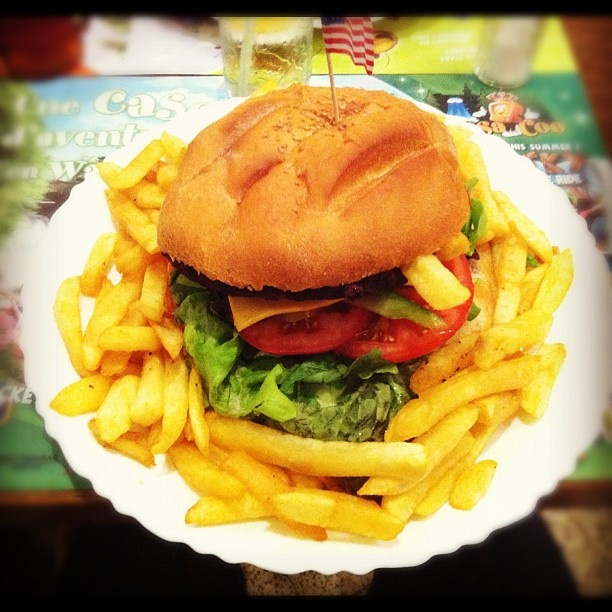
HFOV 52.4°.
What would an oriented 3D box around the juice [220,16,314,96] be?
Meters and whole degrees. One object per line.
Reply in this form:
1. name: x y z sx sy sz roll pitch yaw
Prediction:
1. juice: -0.244 -1.600 3.875 0.580 0.521 0.546 19 36 24
